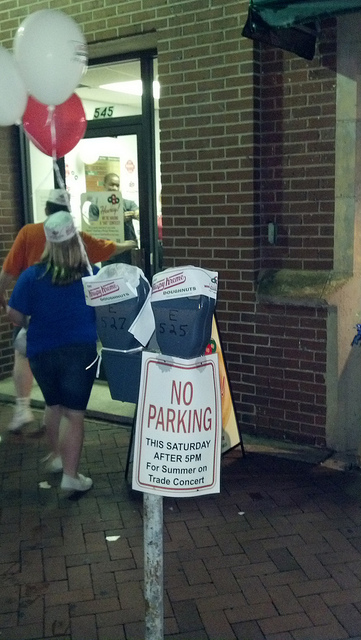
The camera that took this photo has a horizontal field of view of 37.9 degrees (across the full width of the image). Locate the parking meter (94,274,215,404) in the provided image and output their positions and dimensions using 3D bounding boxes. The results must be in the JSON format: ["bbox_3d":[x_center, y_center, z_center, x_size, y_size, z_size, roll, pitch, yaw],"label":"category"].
[{"bbox_3d":[-0.087,0.055,1.721,0.401,0.463,0.124,1,7,25],"label":"parking meter"}]

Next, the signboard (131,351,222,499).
[{"bbox_3d":[0.001,0.318,1.617,0.283,0.437,0.110,4,8,-2],"label":"signboard"}]

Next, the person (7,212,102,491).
[{"bbox_3d":[-0.780,0.249,3.439,0.562,1.851,0.482,-1,3,9],"label":"person"}]

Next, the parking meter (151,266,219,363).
[{"bbox_3d":[-0.001,-0.014,1.547,0.199,0.276,0.134,0,3,28],"label":"parking meter"}]

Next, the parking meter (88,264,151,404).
[{"bbox_3d":[-0.222,0.053,2.089,0.163,0.547,0.338,-4,4,-40],"label":"parking meter"}]

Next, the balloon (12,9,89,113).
[{"bbox_3d":[-0.673,-1.326,2.718,0.296,0.542,0.299,-8,17,-33],"label":"balloon"}]
